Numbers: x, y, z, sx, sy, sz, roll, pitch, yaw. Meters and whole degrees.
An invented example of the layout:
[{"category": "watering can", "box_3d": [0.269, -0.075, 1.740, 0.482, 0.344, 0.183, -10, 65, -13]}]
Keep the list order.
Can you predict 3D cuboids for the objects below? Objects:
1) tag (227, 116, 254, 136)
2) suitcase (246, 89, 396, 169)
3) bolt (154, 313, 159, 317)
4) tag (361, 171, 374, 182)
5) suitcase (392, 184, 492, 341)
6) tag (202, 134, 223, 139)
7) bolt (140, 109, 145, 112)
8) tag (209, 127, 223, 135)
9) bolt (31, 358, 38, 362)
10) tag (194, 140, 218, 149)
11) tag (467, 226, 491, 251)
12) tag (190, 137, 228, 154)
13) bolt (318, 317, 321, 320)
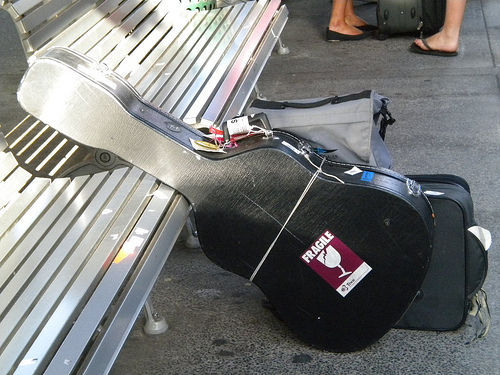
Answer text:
[{"category": "tag", "box_3d": [-0.029, -0.185, 1.199, 0.077, 0.037, 0.042, -15, 54, 9]}, {"category": "suitcase", "box_3d": [0.304, -0.220, 1.598, 0.460, 0.175, 0.353, 5, 59, 11]}, {"category": "bolt", "box_3d": [-0.342, 0.459, 1.443, 0.005, 0.020, 0.020, 6, 98, 38]}, {"category": "tag", "box_3d": [0.348, -0.034, 1.176, 0.029, 0.020, 0.044, 8, 61, 24]}, {"category": "suitcase", "box_3d": [0.671, 0.185, 1.464, 0.412, 0.435, 0.431, 16, 35, 23]}, {"category": "tag", "box_3d": [-0.115, -0.151, 1.223, 0.066, 0.018, 0.018, 0, 73, 22]}, {"category": "bolt", "box_3d": [-0.320, -0.228, 1.178, 0.010, 0.009, 0.008, -34, 53, -5]}, {"category": "tag", "box_3d": [-0.109, -0.169, 1.237, 0.053, 0.021, 0.017, 16, 88, -16]}, {"category": "bolt", "box_3d": [-0.441, 0.350, 0.812, 0.012, 0.003, 0.007, -9, 55, 14]}, {"category": "tag", "box_3d": [-0.135, -0.128, 1.189, 0.042, 0.010, 0.012, 24, 50, 4]}, {"category": "tag", "box_3d": [0.761, 0.163, 1.332, 0.060, 0.087, 0.029, -4, 16, 43]}, {"category": "tag", "box_3d": [-0.140, -0.120, 1.180, 0.068, 0.016, 0.047, 10, 51, -26]}, {"category": "bolt", "box_3d": [0.222, 0.414, 1.269, 0.009, 0.006, 0.004, -14, 54, 10]}]
